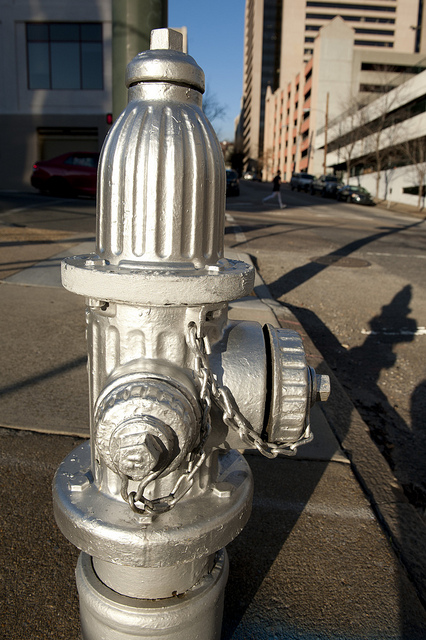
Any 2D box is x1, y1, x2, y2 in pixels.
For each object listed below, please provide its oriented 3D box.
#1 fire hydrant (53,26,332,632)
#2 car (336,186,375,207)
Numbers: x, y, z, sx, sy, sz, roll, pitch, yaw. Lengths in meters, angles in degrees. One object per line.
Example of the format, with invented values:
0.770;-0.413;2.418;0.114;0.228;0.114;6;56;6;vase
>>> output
-0.089;0.047;1.627;0.596;1.590;0.521;-4;13;-37;fire hydrant
7.220;-6.375;31.770;1.091;0.744;1.708;-5;27;-14;car
